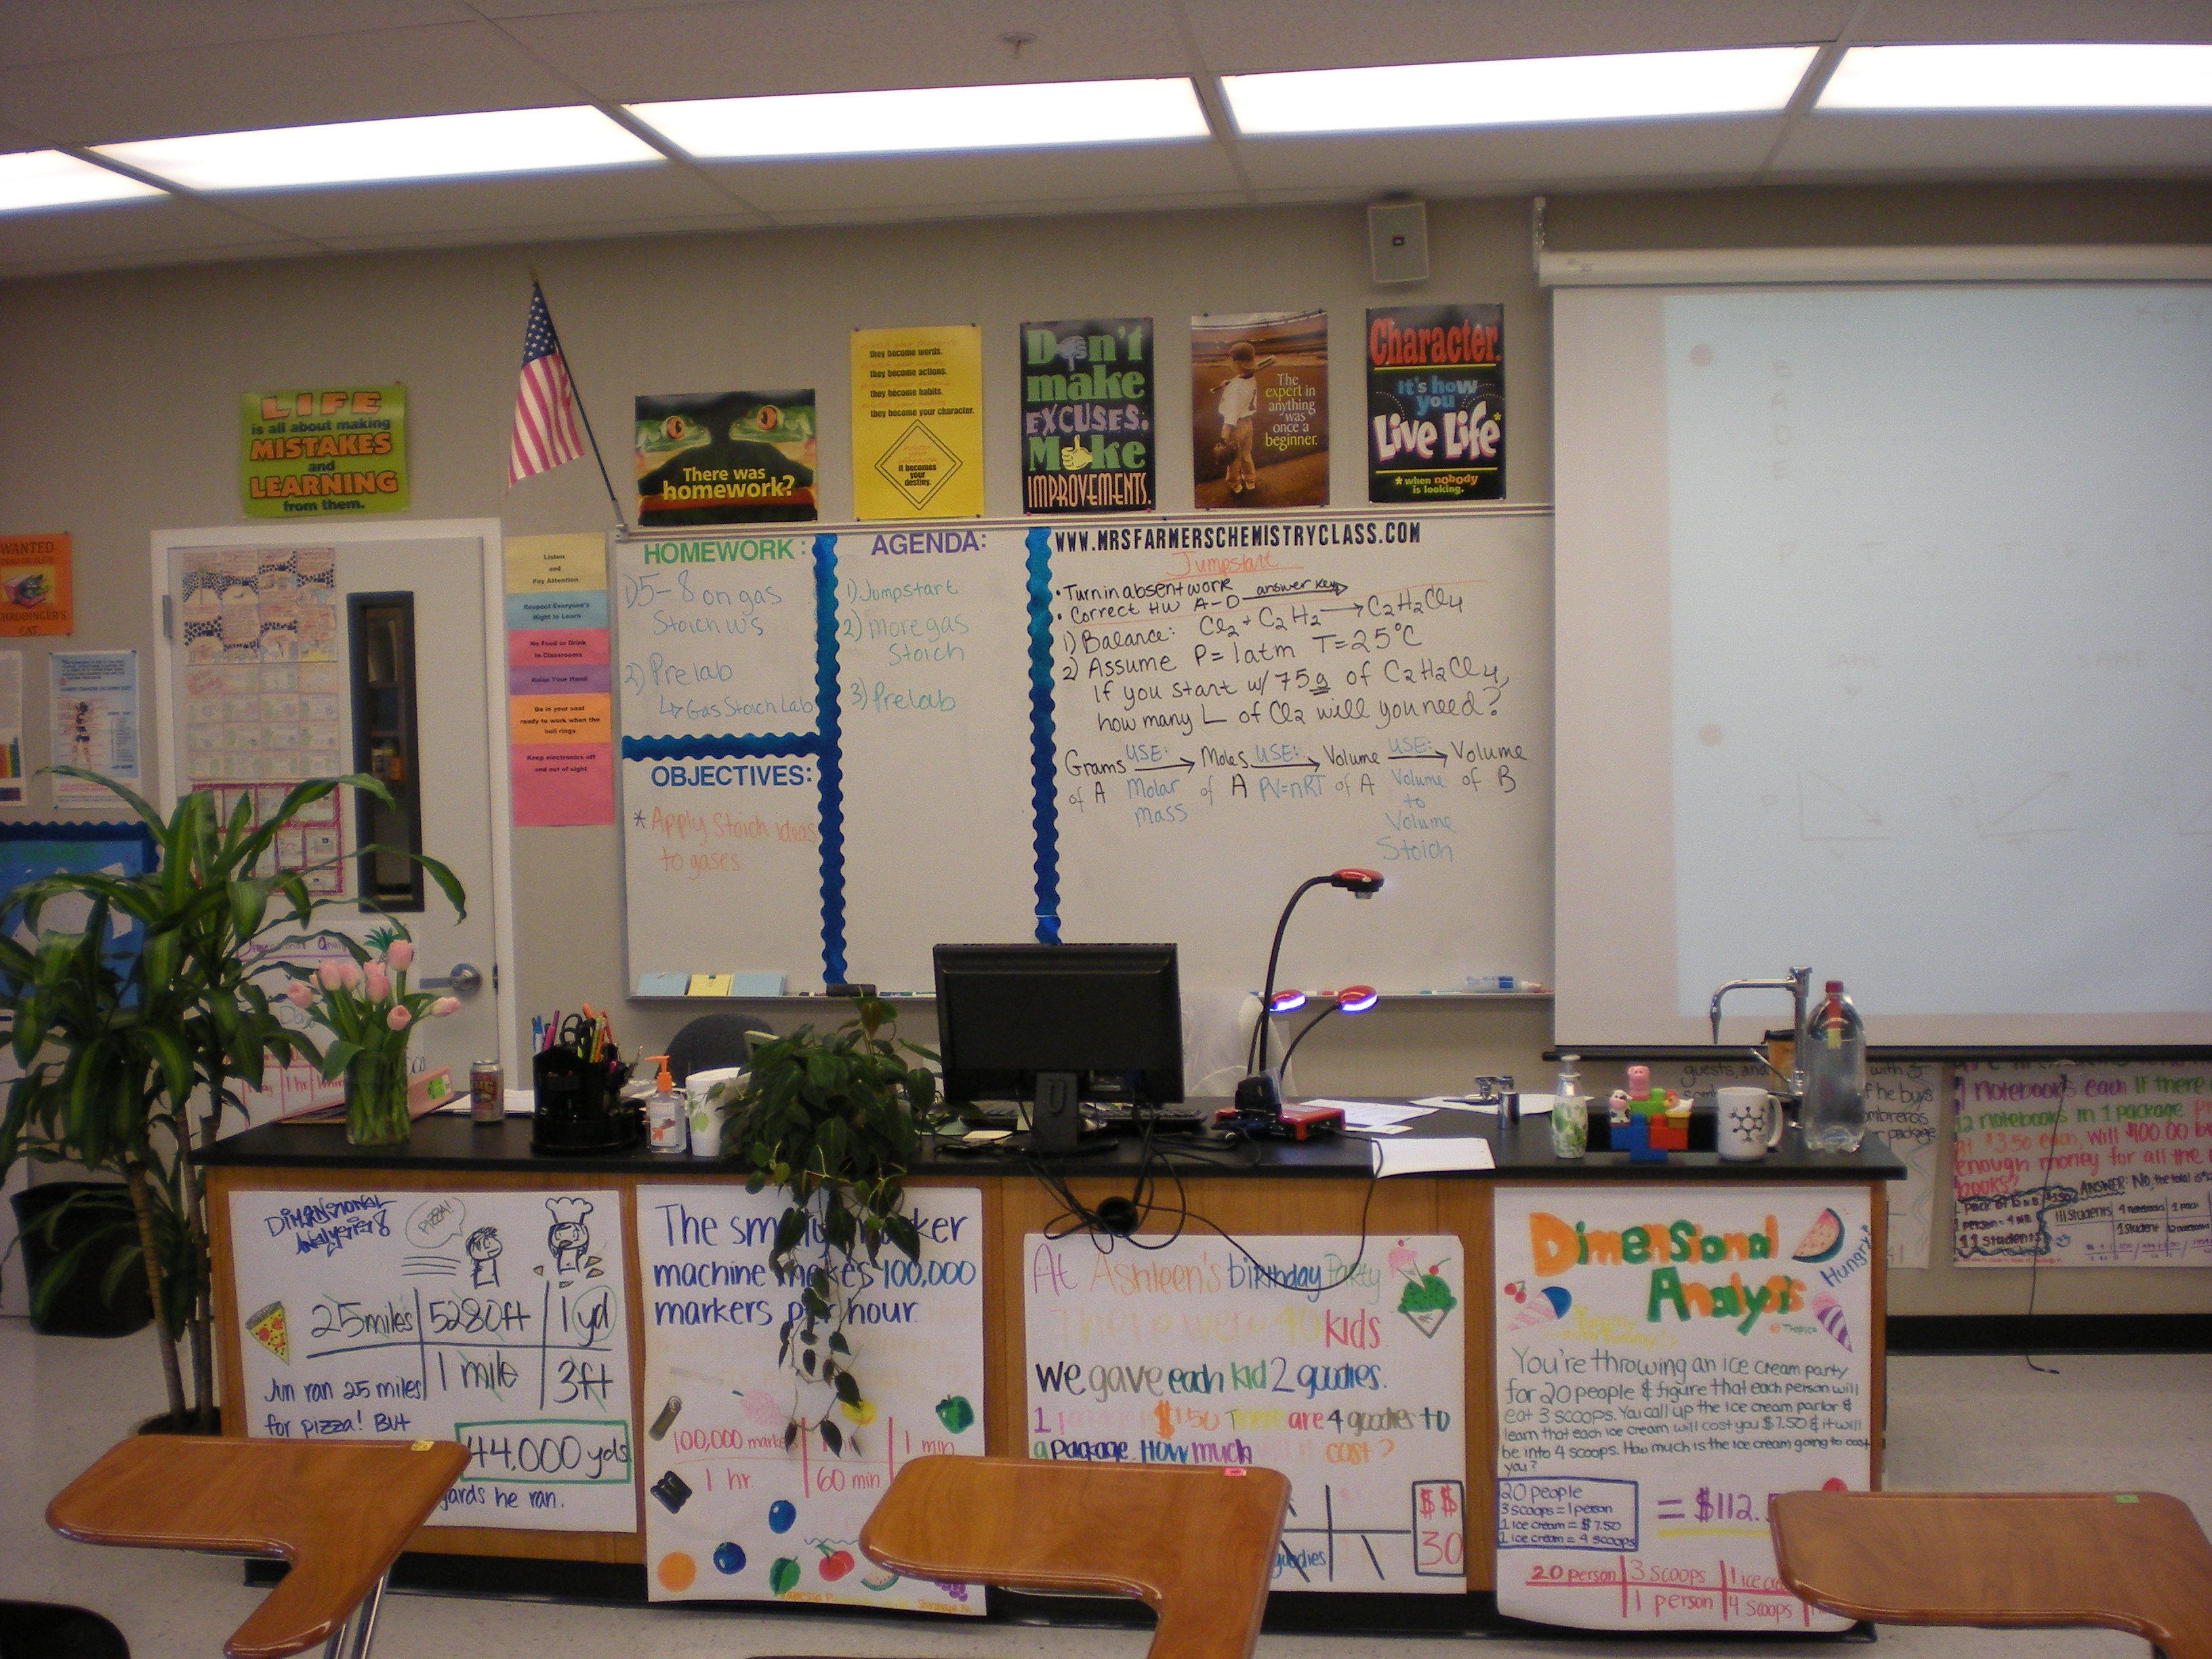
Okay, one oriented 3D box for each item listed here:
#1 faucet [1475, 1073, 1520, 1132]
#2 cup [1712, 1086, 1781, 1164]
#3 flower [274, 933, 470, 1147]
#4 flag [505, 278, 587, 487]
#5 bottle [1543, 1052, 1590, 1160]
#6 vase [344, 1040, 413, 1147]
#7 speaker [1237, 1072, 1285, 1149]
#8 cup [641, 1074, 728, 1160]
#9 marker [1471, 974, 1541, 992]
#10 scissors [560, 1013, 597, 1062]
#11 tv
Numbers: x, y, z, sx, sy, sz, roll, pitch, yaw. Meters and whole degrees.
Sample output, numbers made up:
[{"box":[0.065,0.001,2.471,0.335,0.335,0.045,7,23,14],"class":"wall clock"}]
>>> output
[{"box":[0.983,0.698,5.434,0.037,0.109,0.105,5,-11,-39],"class":"faucet"},{"box":[1.530,0.693,5.103,0.227,0.161,0.092,-5,5,-34],"class":"cup"},{"box":[-1.828,0.553,5.445,0.351,0.450,0.387,-3,1,11],"class":"flower"},{"box":[-1.672,-1.346,6.462,0.212,0.629,0.470,-3,4,-14],"class":"flag"},{"box":[1.110,0.674,5.213,0.098,0.193,0.323,-1,4,12],"class":"bottle"},{"box":[-1.815,0.665,5.404,0.142,0.233,0.145,0,1,12],"class":"vase"},{"box":[0.384,0.717,5.334,0.100,0.154,0.154,1,-5,12],"class":"speaker"},{"box":[-1.008,0.708,5.237,0.201,0.181,0.157,1,-2,0],"class":"cup"},{"box":[1.184,0.469,6.428,0.196,0.059,0.028,-2,4,3],"class":"marker"},{"box":[-1.281,0.512,5.314,0.081,0.103,0.105,4,-9,-32],"class":"scissors"},{"box":[-0.119,0.536,5.219,0.455,0.348,0.124,0,6,3],"class":"tv"}]
